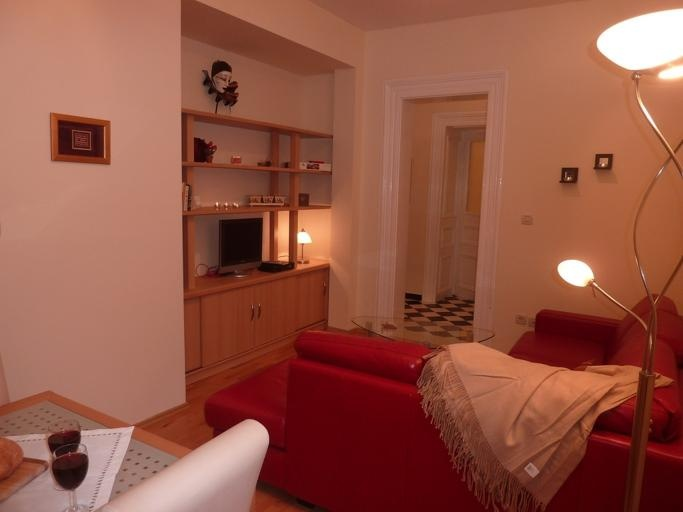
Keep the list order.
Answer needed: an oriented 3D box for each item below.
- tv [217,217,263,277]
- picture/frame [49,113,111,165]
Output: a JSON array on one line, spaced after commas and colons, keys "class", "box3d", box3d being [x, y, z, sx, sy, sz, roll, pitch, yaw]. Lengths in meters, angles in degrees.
[{"class": "tv", "box3d": [-1.007, -0.095, 4.652, 0.121, 0.467, 0.527, 5, 7, 29]}, {"class": "picture/frame", "box3d": [-1.584, -0.703, 2.866, 0.024, 0.275, 0.335, 4, 5, 38]}]
